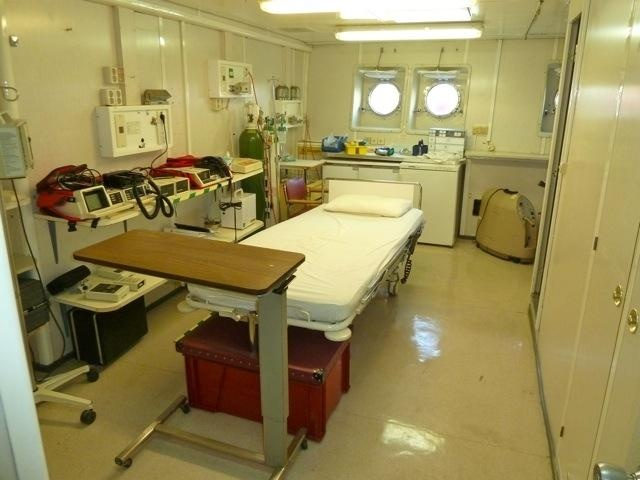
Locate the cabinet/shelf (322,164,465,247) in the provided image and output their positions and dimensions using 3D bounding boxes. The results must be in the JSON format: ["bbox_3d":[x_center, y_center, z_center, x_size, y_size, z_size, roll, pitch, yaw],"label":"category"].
[{"bbox_3d":[0.878,-0.389,5.491,1.026,0.628,0.334,6,19,19],"label":"cabinet/shelf"}]

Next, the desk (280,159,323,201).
[{"bbox_3d":[-0.252,-0.870,6.969,0.634,0.597,0.636,6,24,19],"label":"desk"}]

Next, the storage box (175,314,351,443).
[{"bbox_3d":[-0.319,0.672,3.287,0.977,0.507,0.715,6,14,24],"label":"storage box"}]

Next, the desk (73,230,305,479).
[{"bbox_3d":[-0.687,0.342,3.339,1.598,1.689,1.039,10,23,19],"label":"desk"}]

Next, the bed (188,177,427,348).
[{"bbox_3d":[0.180,0.034,4.031,1.157,0.959,2.105,11,26,27],"label":"bed"}]
